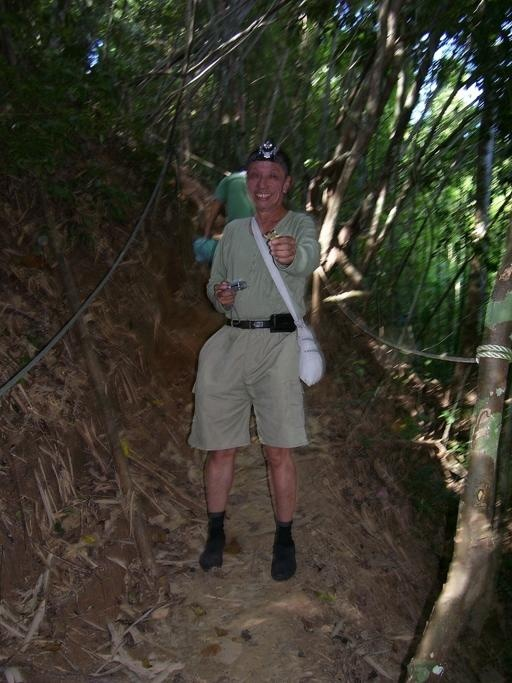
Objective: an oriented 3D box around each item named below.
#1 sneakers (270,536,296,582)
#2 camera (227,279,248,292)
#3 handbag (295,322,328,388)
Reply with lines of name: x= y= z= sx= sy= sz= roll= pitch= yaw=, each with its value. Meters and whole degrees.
sneakers: x=0.130 y=1.043 z=2.911 sx=0.123 sy=0.204 sz=0.084 roll=-1 pitch=-32 yaw=10
camera: x=-0.075 y=-0.245 z=2.648 sx=0.060 sy=0.054 sz=0.105 roll=-6 pitch=2 yaw=-36
handbag: x=0.193 y=0.051 z=2.667 sx=0.106 sy=0.137 sz=0.257 roll=-2 pitch=53 yaw=-17
